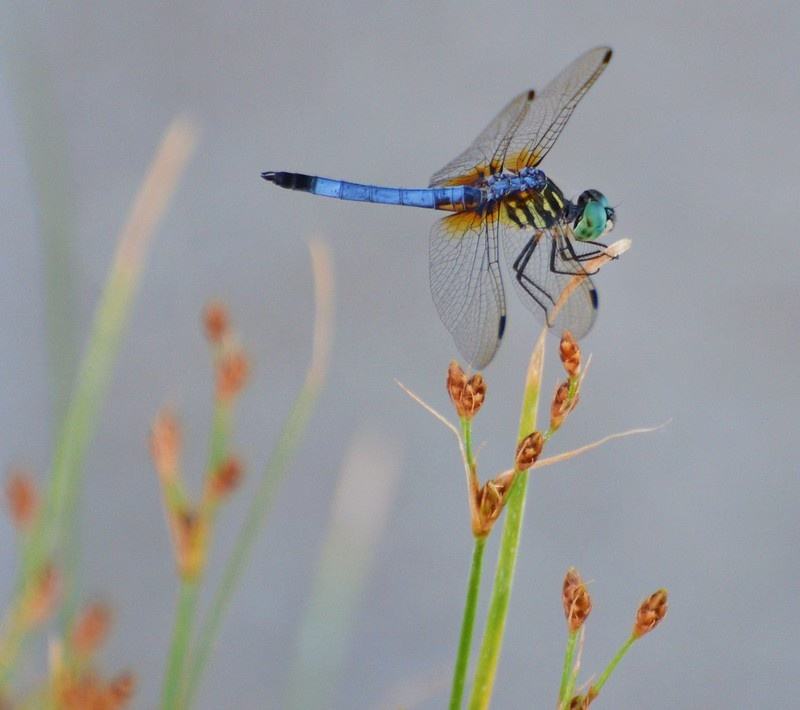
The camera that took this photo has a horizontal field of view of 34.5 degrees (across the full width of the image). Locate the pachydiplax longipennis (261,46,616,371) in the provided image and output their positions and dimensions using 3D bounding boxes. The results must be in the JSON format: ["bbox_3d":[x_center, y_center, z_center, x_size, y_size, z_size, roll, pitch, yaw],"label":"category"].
[{"bbox_3d":[0.066,-0.254,2.031,0.532,0.296,0.681,5,-30,8],"label":"pachydiplax longipennis"}]
